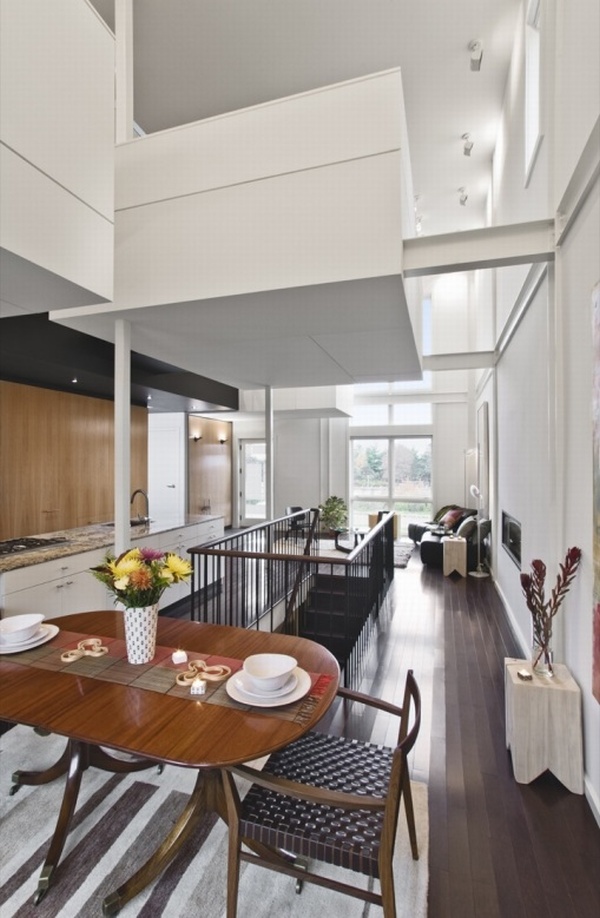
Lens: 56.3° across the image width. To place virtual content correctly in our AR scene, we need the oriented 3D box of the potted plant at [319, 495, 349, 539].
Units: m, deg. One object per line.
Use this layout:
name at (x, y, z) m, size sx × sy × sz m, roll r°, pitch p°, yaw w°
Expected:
potted plant at (0.572, 1.062, 10.230) m, size 0.534 × 0.810 × 0.544 m, roll 1°, pitch 2°, yaw 36°

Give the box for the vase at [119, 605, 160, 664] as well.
vase at (-0.586, 0.624, 2.066) m, size 0.087 × 0.194 × 0.110 m, roll 8°, pitch -18°, yaw -21°

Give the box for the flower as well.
flower at (-0.568, 0.442, 2.038) m, size 0.313 × 0.193 × 0.203 m, roll -1°, pitch 2°, yaw -38°

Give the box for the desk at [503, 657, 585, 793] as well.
desk at (1.106, 1.281, 2.620) m, size 0.244 × 0.440 × 0.495 m, roll -1°, pitch -30°, yaw 27°
